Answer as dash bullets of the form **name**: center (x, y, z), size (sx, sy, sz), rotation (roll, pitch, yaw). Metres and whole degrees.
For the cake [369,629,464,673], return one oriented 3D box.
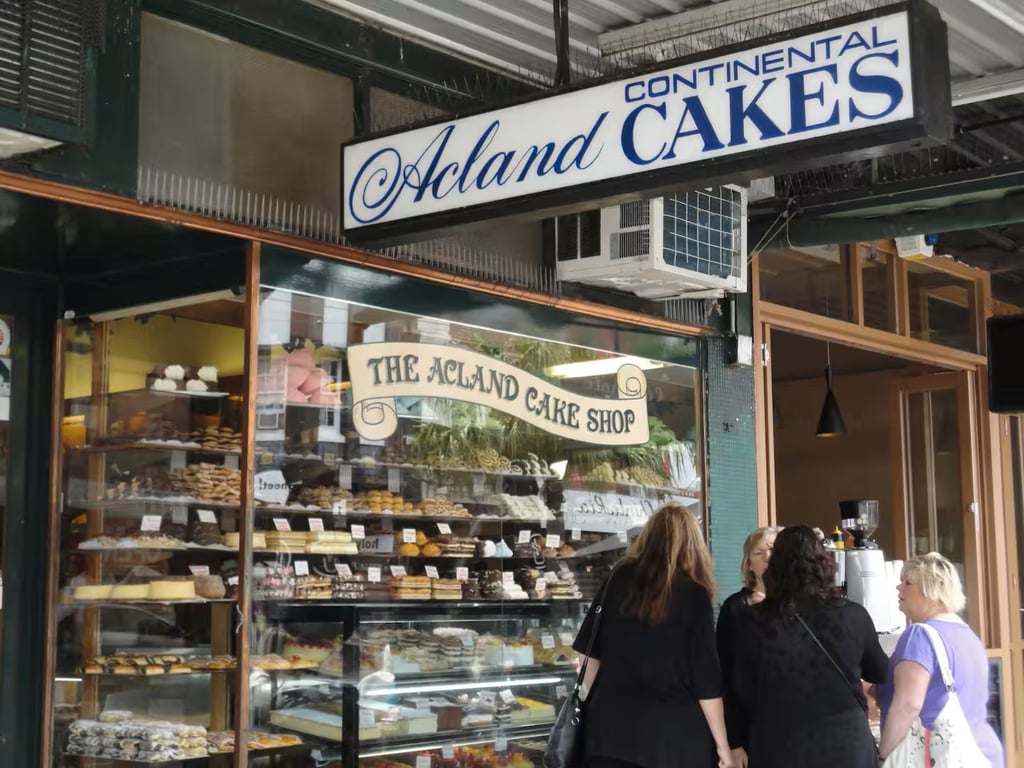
- **cake**: center (-0.489, 1.423, 7.667), size (0.466, 0.232, 0.557), rotation (6, -6, -38)

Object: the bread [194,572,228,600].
- **bread**: center (-1.473, 1.008, 7.108), size (0.164, 0.111, 0.121), rotation (2, 2, 13)

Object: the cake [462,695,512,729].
- **cake**: center (-0.130, 1.802, 7.944), size (0.209, 0.193, 0.048), rotation (1, 0, -31)

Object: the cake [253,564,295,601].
- **cake**: center (-1.159, 0.979, 7.102), size (0.053, 0.186, 0.246), rotation (12, 9, 39)

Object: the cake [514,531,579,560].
- **cake**: center (0.172, 0.945, 8.303), size (0.181, 0.081, 0.225), rotation (-8, -15, 33)

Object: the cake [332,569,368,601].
- **cake**: center (-0.843, 1.046, 7.452), size (0.145, 0.139, 0.079), rotation (9, -27, -32)

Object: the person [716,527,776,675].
- **person**: center (1.254, 1.222, 7.362), size (0.378, 0.970, 0.277), rotation (3, -21, 8)
